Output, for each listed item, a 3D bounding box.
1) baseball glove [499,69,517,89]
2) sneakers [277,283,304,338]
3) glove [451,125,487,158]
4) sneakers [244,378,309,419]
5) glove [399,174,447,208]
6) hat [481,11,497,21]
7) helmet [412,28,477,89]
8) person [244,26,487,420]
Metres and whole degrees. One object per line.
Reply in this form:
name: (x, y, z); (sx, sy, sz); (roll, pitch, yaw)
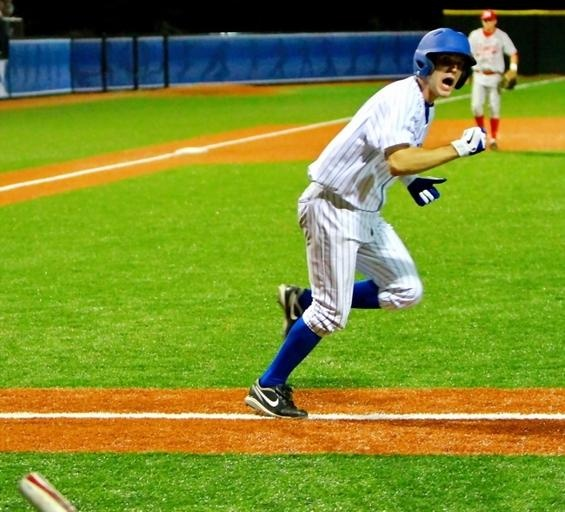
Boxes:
baseball glove: (2.414, -1.874, 14.275); (0.133, 0.182, 0.070); (-17, -38, 42)
sneakers: (0.041, 0.367, 8.913); (0.148, 0.330, 0.116); (3, 1, 4)
glove: (1.155, -0.692, 8.276); (0.176, 0.186, 0.237); (8, 10, 30)
sneakers: (-0.047, 0.924, 8.689); (0.451, 0.210, 0.160); (14, -3, 9)
glove: (0.893, -0.402, 8.686); (0.257, 0.170, 0.074); (43, -15, 21)
hat: (2.189, -2.557, 14.328); (0.127, 0.165, 0.085); (-3, -44, 11)
helmet: (1.012, -1.222, 8.374); (0.381, 0.361, 0.277); (4, 9, 5)
person: (0.526, -0.193, 8.526); (1.293, 2.487, 0.590); (4, 9, 6)
